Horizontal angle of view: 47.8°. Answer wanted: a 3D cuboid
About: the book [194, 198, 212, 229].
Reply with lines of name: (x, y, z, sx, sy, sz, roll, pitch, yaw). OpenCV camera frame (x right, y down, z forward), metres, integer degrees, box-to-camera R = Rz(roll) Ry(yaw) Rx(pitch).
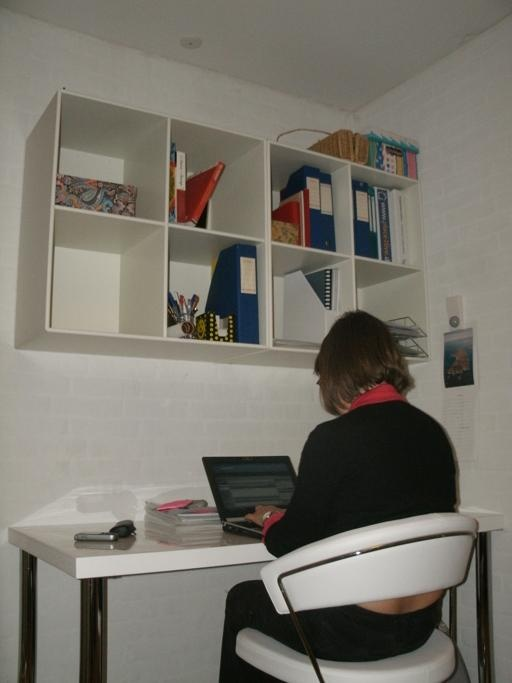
book: (-0.196, -0.487, 2.179, 0.023, 0.089, 0.095, 9, 13, -14)

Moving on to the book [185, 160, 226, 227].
book: (-0.239, -0.544, 2.218, 0.092, 0.096, 0.362, 8, -26, -29)

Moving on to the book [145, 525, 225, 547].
book: (-0.170, 0.497, 1.446, 0.099, 0.026, 0.104, 13, -15, -39)

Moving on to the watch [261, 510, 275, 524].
watch: (0.031, 0.452, 1.482, 0.026, 0.032, 0.035, -5, -6, 5)

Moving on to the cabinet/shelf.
cabinet/shelf: (-0.064, -0.357, 2.367, 1.623, 0.858, 0.421, 4, -9, -30)

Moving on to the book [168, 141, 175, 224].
book: (-0.302, -0.581, 2.095, 0.026, 0.316, 0.085, 2, -3, -9)
